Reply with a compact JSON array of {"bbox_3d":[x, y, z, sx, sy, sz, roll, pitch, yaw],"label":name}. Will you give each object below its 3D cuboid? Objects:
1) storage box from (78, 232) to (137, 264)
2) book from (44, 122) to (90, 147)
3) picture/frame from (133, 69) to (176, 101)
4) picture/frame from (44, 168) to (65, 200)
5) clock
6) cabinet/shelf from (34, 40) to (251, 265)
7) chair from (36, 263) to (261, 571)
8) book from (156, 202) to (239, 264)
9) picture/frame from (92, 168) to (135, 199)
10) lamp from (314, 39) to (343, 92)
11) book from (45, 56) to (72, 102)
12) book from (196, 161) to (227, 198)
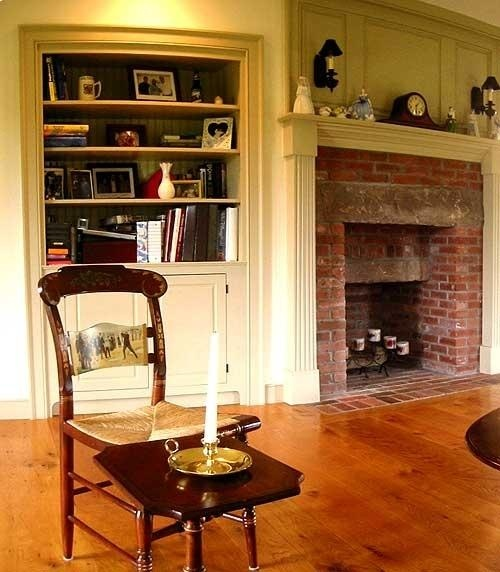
[{"bbox_3d":[-0.891,-0.230,3.260,0.408,0.178,0.244,1,2,-12],"label":"storage box"},{"bbox_3d":[-1.104,-0.894,3.147,0.253,0.140,0.046,-1,3,-10],"label":"book"},{"bbox_3d":[-0.623,-1.266,3.337,0.303,0.183,0.022,3,-19,-26],"label":"picture/frame"},{"bbox_3d":[-1.220,-0.635,3.278,0.118,0.212,0.168,-2,3,-20],"label":"picture/frame"},{"bbox_3d":[1.169,-1.284,3.942,0.556,0.261,0.259,0,3,-23],"label":"clock"},{"bbox_3d":[-0.701,-0.831,3.324,1.741,1.582,0.471,0,-4,-18],"label":"cabinet/shelf"},{"bbox_3d":[-0.273,0.380,1.578,0.686,0.813,0.591,3,4,32],"label":"chair"},{"bbox_3d":[-0.322,-0.335,3.359,0.485,0.359,0.123,-1,3,-2],"label":"book"},{"bbox_3d":[-0.902,-0.661,3.427,0.274,0.224,0.018,4,-22,-17],"label":"picture/frame"},{"bbox_3d":[0.537,-1.487,3.565,0.175,0.274,0.177,-10,13,-43],"label":"lamp"},{"bbox_3d":[-1.167,-1.246,3.175,0.134,0.267,0.314,-4,15,-13],"label":"book"},{"bbox_3d":[-0.247,-0.696,3.481,0.257,0.297,0.239,-1,4,-7],"label":"book"}]
